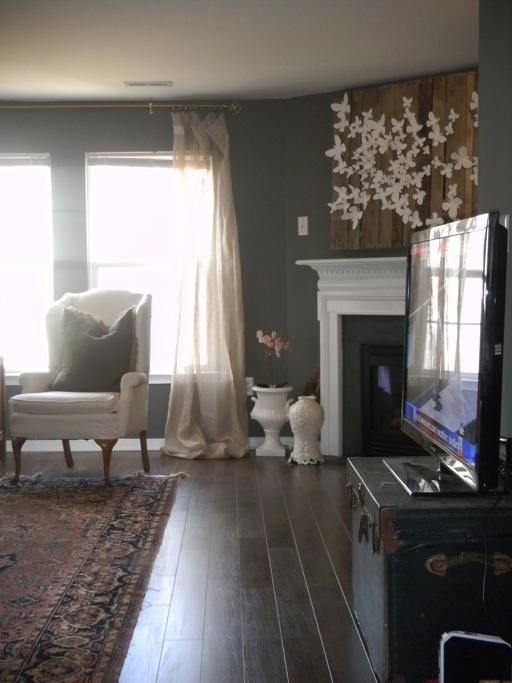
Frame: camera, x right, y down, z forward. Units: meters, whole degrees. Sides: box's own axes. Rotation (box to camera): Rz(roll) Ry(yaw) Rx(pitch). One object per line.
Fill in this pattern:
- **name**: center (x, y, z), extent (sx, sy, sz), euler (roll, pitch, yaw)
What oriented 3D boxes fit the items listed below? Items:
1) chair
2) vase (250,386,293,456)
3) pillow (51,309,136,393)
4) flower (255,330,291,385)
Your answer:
- **chair**: center (-1.043, 0.269, 3.399), extent (0.780, 1.171, 0.696), euler (-5, 1, 2)
- **vase**: center (0.097, 0.570, 3.950), extent (0.315, 0.700, 0.375), euler (0, -5, 1)
- **pillow**: center (-0.983, 0.086, 3.390), extent (0.315, 0.435, 0.154), euler (2, -24, 1)
- **flower**: center (0.119, 0.121, 3.951), extent (0.233, 0.351, 0.419), euler (-5, 1, 1)
